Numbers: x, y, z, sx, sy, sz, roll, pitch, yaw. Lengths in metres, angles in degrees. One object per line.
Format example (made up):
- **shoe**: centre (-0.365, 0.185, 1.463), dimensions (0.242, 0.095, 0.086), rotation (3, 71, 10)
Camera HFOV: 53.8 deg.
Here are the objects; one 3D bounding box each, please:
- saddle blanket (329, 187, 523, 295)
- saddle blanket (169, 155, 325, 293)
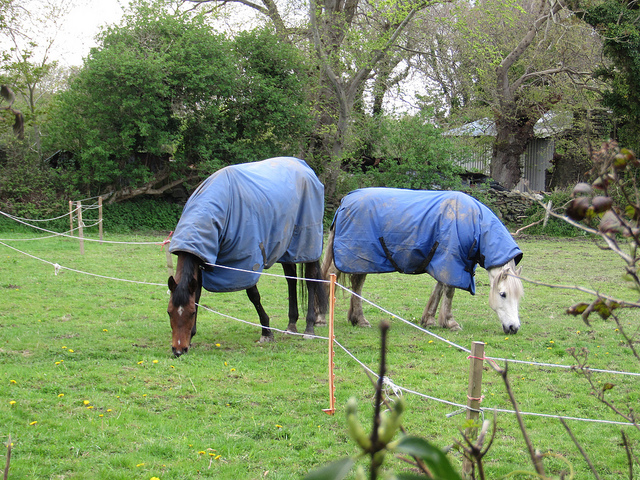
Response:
- **saddle blanket**: centre (1.713, -0.064, 10.943), dimensions (2.956, 1.271, 0.572), rotation (6, 3, 14)
- **saddle blanket**: centre (-1.063, -0.448, 9.858), dimensions (0.800, 1.770, 2.723), rotation (7, 3, 37)
